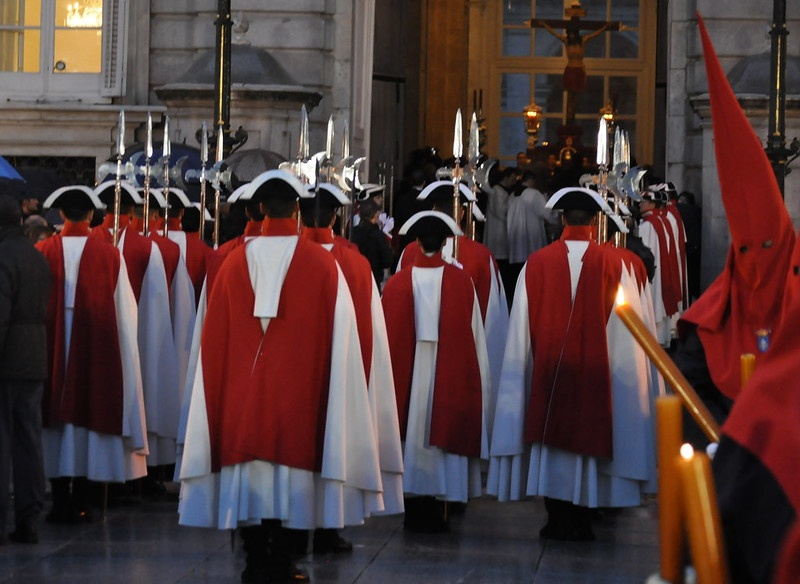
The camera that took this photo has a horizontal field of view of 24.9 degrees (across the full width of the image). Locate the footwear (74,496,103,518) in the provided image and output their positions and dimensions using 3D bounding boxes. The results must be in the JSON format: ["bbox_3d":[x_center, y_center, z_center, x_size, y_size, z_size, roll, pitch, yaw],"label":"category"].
[{"bbox_3d":[-2.543,1.760,14.684,0.169,0.158,0.168,-8,16,33],"label":"footwear"}]

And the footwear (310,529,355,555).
[{"bbox_3d":[-0.550,1.929,13.972,0.403,0.269,0.135,-1,-3,-17],"label":"footwear"}]

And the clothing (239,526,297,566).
[{"bbox_3d":[-0.970,1.834,13.165,0.346,0.341,0.084,1,11,14],"label":"clothing"}]

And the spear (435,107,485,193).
[{"bbox_3d":[0.551,-1.149,15.392,0.483,0.826,0.047,-8,-23,27],"label":"spear"}]

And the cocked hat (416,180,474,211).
[{"bbox_3d":[0.402,-0.837,15.812,0.539,0.170,0.528,0,7,2],"label":"cocked hat"}]

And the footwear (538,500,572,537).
[{"bbox_3d":[1.278,1.775,14.441,0.283,0.313,0.235,5,17,26],"label":"footwear"}]

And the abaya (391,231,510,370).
[{"bbox_3d":[0.391,0.109,14.905,1.193,1.323,0.608,0,2,5],"label":"abaya"}]

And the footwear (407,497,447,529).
[{"bbox_3d":[0.232,1.799,14.572,0.368,0.351,0.180,-4,-4,37],"label":"footwear"}]

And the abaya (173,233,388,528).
[{"bbox_3d":[-0.875,0.659,13.057,1.423,2.012,0.783,1,15,-2],"label":"abaya"}]

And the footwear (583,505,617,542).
[{"bbox_3d":[1.659,1.889,14.842,0.142,0.186,0.449,2,7,34],"label":"footwear"}]

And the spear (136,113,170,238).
[{"bbox_3d":[-2.211,-1.002,15.675,0.059,1.163,0.126,-11,35,-29],"label":"spear"}]

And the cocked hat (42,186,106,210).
[{"bbox_3d":[-2.724,-0.772,15.052,0.370,0.175,0.519,-3,3,-18],"label":"cocked hat"}]

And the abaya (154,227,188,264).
[{"bbox_3d":[-1.995,-0.401,15.951,0.270,0.285,0.280,-5,9,-44],"label":"abaya"}]
